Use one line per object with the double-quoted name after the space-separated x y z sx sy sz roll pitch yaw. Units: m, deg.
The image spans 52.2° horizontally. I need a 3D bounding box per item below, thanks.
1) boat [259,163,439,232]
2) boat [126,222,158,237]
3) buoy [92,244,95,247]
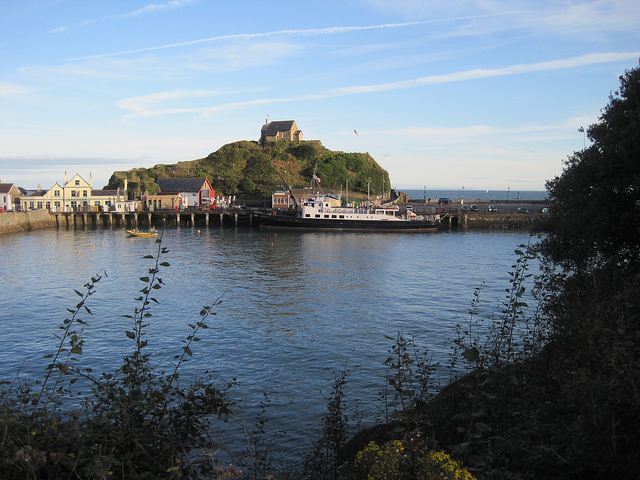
3.007 -3.911 93.317 22.583 5.343 8.593 -1 6 -5 "boat"
-26.145 -1.576 95.027 5.642 2.407 1.683 -3 11 -3 "boat"
-24.883 0.609 71.541 0.165 0.304 0.166 1 18 -11 "buoy"
